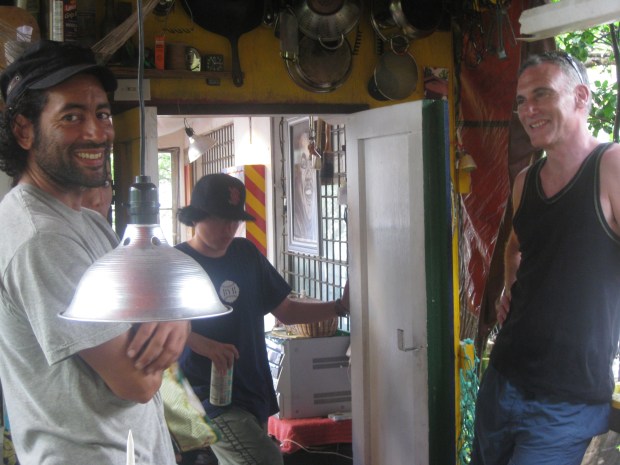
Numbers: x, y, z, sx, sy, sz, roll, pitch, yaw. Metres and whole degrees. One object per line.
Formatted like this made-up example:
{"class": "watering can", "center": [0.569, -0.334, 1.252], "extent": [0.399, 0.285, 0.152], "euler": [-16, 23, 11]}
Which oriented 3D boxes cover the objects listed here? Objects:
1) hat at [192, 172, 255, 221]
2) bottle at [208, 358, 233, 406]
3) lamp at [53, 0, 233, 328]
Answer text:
{"class": "hat", "center": [-0.459, -0.192, 4.428], "extent": [0.319, 0.245, 0.418], "euler": [7, 1, -31]}
{"class": "bottle", "center": [-0.426, 0.713, 4.007], "extent": [0.107, 0.199, 0.100], "euler": [-3, -5, 0]}
{"class": "lamp", "center": [-0.547, -0.233, 2.714], "extent": [0.517, 1.039, 0.201], "euler": [-4, -5, 12]}
